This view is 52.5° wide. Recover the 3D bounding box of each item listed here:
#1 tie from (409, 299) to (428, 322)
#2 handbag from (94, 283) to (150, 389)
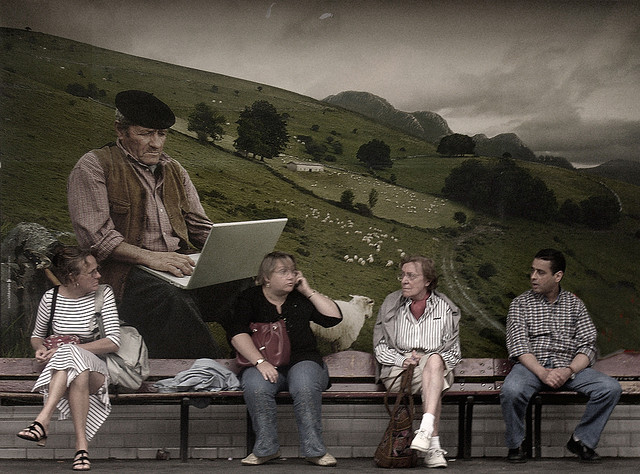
[{"bbox_3d":[0.845,0.645,5.682,0.128,0.180,0.099,-6,1,13],"label":"tie"},{"bbox_3d":[-1.723,0.850,5.667,0.514,0.830,0.423,5,1,-20],"label":"handbag"}]
